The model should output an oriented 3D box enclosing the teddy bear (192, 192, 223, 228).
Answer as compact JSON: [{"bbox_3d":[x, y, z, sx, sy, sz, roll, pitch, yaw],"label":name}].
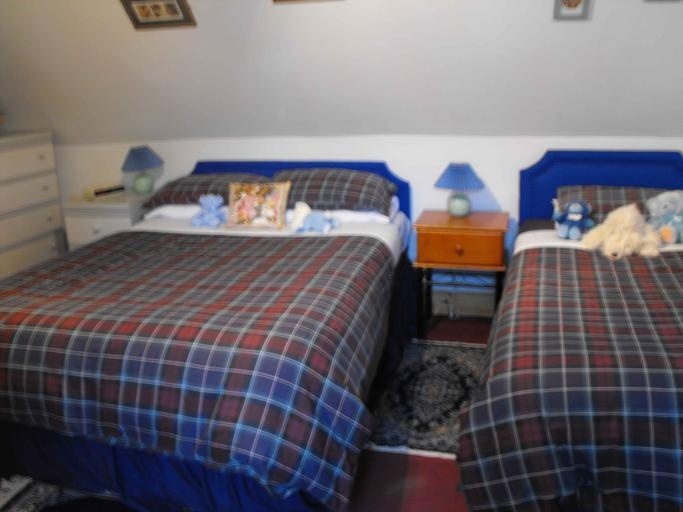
[{"bbox_3d":[-0.933,-0.355,3.727,0.204,0.267,0.128,-16,65,-12],"label":"teddy bear"}]

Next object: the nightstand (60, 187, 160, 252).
[{"bbox_3d":[-1.962,-0.321,4.162,0.633,0.293,0.481,1,27,8],"label":"nightstand"}]

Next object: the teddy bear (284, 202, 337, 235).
[{"bbox_3d":[-0.225,-0.247,3.390,0.268,0.214,0.098,7,-16,8],"label":"teddy bear"}]

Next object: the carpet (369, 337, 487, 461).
[{"bbox_3d":[0.552,0.824,2.870,0.526,0.145,0.947,4,27,23],"label":"carpet"}]

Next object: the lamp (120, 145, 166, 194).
[{"bbox_3d":[-1.815,-0.775,4.464,0.386,0.459,0.428,-16,31,-36],"label":"lamp"}]

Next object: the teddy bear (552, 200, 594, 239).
[{"bbox_3d":[1.476,-0.246,3.182,0.237,0.120,0.280,8,30,26],"label":"teddy bear"}]

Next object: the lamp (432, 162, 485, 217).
[{"bbox_3d":[0.870,-0.478,3.649,0.380,0.377,0.379,-13,19,-39],"label":"lamp"}]

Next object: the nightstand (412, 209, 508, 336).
[{"bbox_3d":[0.809,0.138,3.684,0.776,1.045,0.815,3,20,12],"label":"nightstand"}]

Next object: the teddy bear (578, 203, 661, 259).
[{"bbox_3d":[1.644,-0.139,2.898,0.336,0.117,0.352,8,55,30],"label":"teddy bear"}]
